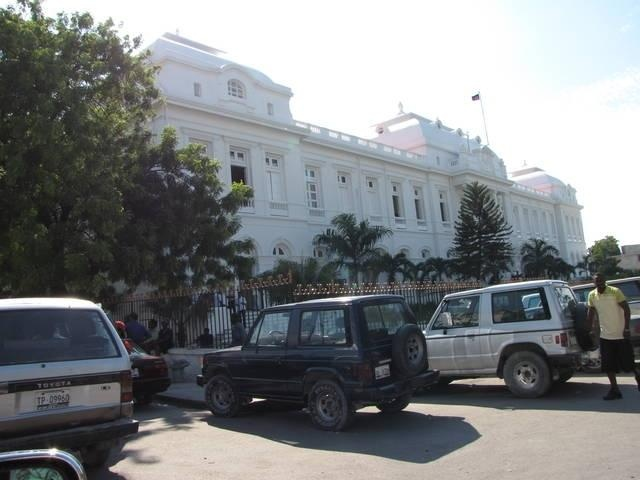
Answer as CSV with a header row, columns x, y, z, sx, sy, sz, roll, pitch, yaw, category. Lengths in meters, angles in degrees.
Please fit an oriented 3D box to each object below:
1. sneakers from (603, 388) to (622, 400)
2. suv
x,y,z,sx,sy,sz,roll,pitch,yaw,category
4.994,2.657,8.492,0.373,0.197,0.140,-3,-7,2,sneakers
1.484,2.000,9.102,6.515,2.276,2.706,1,-9,-20,suv
